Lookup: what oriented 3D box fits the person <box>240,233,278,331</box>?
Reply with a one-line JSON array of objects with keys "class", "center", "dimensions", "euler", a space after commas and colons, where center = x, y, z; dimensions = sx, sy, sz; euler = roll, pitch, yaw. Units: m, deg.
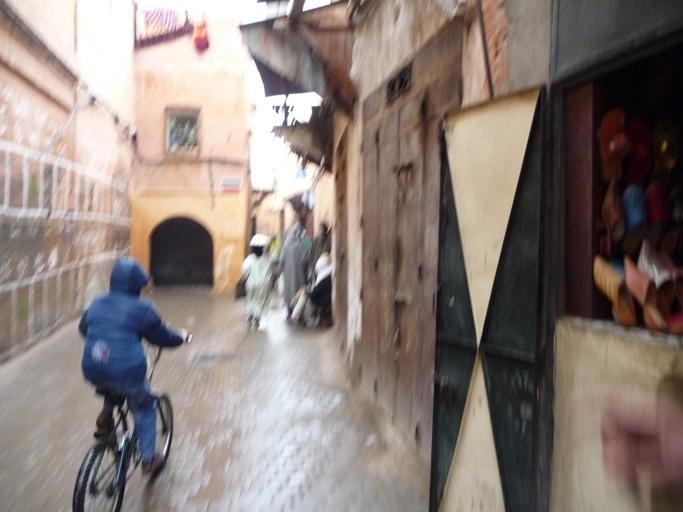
[{"class": "person", "center": [-1.910, 0.514, 12.681], "dimensions": [0.636, 2.444, 0.719], "euler": [6, 25, -1]}]

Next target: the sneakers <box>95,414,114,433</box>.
[{"class": "sneakers", "center": [-1.692, 1.201, 3.804], "dimensions": [0.080, 0.053, 0.135], "euler": [-6, 28, 8]}]
